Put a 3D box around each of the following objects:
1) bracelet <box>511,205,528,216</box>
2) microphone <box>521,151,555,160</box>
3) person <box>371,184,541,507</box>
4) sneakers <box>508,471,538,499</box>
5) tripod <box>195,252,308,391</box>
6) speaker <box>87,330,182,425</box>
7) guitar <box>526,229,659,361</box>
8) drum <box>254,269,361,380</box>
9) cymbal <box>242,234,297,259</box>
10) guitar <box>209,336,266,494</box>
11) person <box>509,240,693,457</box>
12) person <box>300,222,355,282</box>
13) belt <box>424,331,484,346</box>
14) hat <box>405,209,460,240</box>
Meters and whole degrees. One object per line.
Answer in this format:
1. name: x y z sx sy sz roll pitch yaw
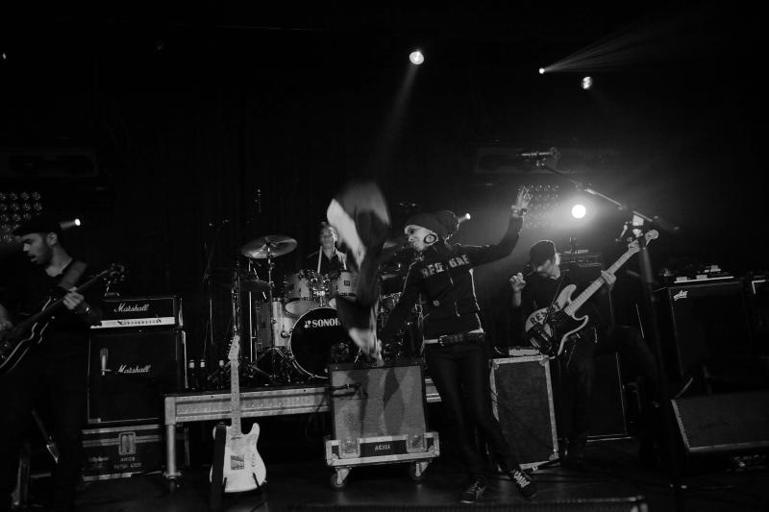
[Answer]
1. bracelet: 1.386 -0.468 7.233 0.202 0.096 0.276 0 0 -8
2. microphone: 2.344 -1.551 10.440 0.559 0.123 0.077 -4 3 -8
3. person: 0.735 0.907 6.913 1.377 2.920 0.807 -3 3 11
4. sneakers: 1.354 2.257 6.745 0.294 0.105 0.125 36 21 24
5. tripod: -1.884 0.851 9.217 1.843 1.713 1.690 -1 -2 15
6. speaker: -2.949 1.420 8.549 1.374 1.267 0.999 0 -15 -11
7. guitar: 2.503 0.521 8.206 2.007 0.597 0.235 -41 -20 -10
8. drum: -1.007 0.869 8.430 0.892 1.333 1.513 -6 3 -38
9. cymbal: -1.512 -0.128 9.116 0.462 0.112 0.453 2 -32 -36
10. guitar: -1.524 1.667 7.064 0.445 1.688 0.473 -5 3 -23
11. person: 2.387 1.004 8.204 1.313 2.834 0.431 -7 -22 12
12. person: -0.719 -0.014 8.559 0.704 1.025 0.575 -2 -21 -2
13. belt: 0.707 0.822 6.883 0.603 0.125 0.101 -3 3 3
14. hat: 0.594 -0.354 7.432 0.350 0.202 0.534 3 -4 28
